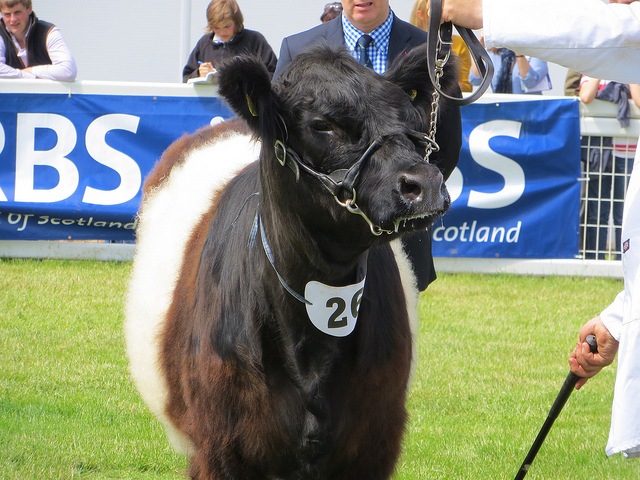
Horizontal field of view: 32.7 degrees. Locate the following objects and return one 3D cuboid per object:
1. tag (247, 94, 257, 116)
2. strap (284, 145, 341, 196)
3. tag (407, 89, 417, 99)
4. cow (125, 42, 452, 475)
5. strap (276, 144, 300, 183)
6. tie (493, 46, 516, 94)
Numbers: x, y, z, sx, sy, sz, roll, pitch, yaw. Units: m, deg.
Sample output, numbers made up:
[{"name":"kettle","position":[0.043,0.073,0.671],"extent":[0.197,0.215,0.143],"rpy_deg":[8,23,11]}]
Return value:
[{"name":"tag","position":[-0.443,-0.853,6.989],"extent":[0.039,0.164,0.030],"rpy_deg":[-20,2,-20]},{"name":"strap","position":[-0.044,-0.414,6.960],"extent":[0.341,0.084,0.199],"rpy_deg":[44,23,17]},{"name":"tag","position":[0.597,-0.955,7.098],"extent":[0.070,0.077,0.018],"rpy_deg":[3,4,-13]},{"name":"cow","position":[-0.234,0.136,7.415],"extent":[2.411,2.884,1.118],"rpy_deg":[6,7,43]},{"name":"strap","position":[-0.205,-0.494,7.008],"extent":[0.157,0.225,0.072],"rpy_deg":[17,28,34]},{"name":"tie","position":[2.063,-1.938,12.383],"extent":[0.234,0.731,0.199],"rpy_deg":[-6,33,10]}]
